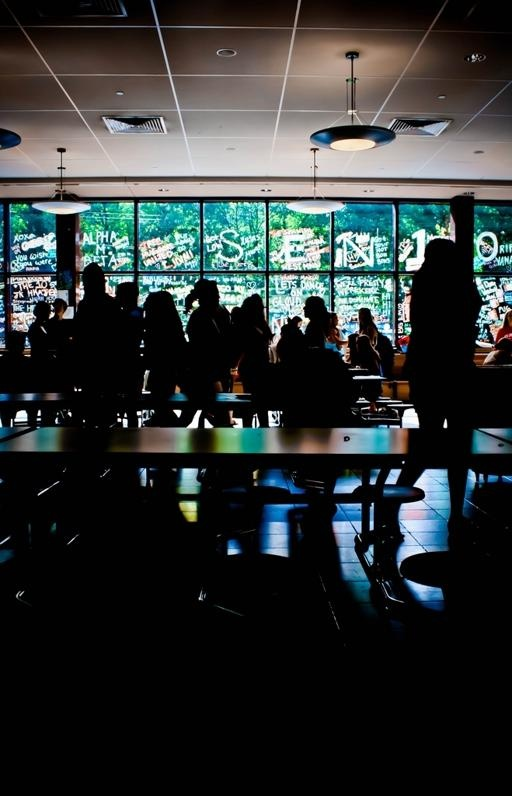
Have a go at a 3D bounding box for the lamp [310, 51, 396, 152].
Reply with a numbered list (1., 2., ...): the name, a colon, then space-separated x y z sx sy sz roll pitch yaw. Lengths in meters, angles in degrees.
1. lamp: 0.883 -2.749 5.455 0.588 0.706 0.592 -17 31 -20

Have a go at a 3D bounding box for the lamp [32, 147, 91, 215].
1. lamp: -2.928 -3.302 8.997 0.770 0.976 0.837 3 6 18
